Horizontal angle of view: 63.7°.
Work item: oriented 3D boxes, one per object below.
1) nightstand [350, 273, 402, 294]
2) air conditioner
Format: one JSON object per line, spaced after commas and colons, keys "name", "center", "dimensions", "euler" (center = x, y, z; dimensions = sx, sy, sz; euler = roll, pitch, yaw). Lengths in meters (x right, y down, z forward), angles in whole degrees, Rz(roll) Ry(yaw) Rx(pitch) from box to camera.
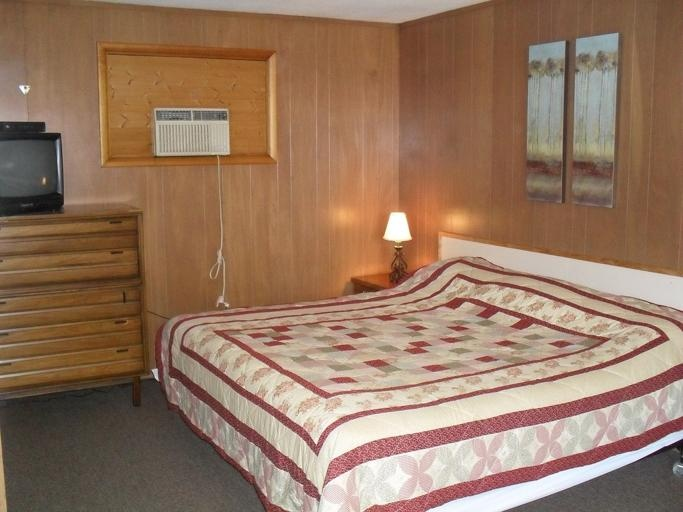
{"name": "nightstand", "center": [0.357, 0.249, 5.411], "dimensions": [0.259, 0.214, 0.244], "euler": [-7, 12, -27]}
{"name": "air conditioner", "center": [-1.368, -1.102, 4.857], "dimensions": [0.669, 0.397, 0.359], "euler": [-11, 22, -37]}
